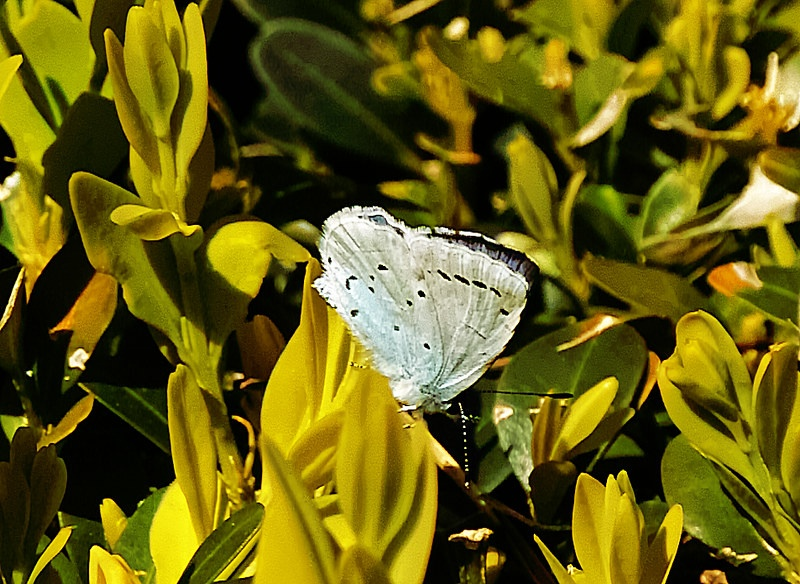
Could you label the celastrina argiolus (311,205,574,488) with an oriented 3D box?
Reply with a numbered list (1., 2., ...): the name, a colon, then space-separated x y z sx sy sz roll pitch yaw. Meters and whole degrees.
1. celastrina argiolus: 0.011 0.046 0.757 0.102 0.207 0.093 3 7 -22
